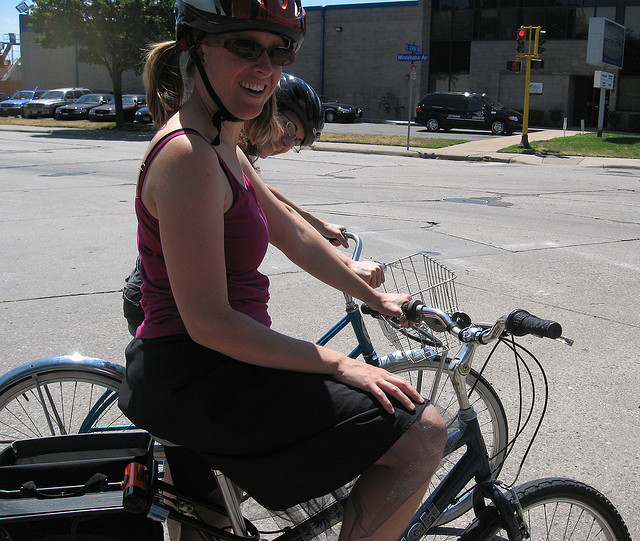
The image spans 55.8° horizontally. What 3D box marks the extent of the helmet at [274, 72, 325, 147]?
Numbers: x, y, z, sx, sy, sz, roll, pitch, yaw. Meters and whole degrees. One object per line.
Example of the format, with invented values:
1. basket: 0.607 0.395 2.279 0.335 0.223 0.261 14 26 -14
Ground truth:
1. helmet: -0.103 -0.858 3.201 0.246 0.370 0.258 1 7 -5
